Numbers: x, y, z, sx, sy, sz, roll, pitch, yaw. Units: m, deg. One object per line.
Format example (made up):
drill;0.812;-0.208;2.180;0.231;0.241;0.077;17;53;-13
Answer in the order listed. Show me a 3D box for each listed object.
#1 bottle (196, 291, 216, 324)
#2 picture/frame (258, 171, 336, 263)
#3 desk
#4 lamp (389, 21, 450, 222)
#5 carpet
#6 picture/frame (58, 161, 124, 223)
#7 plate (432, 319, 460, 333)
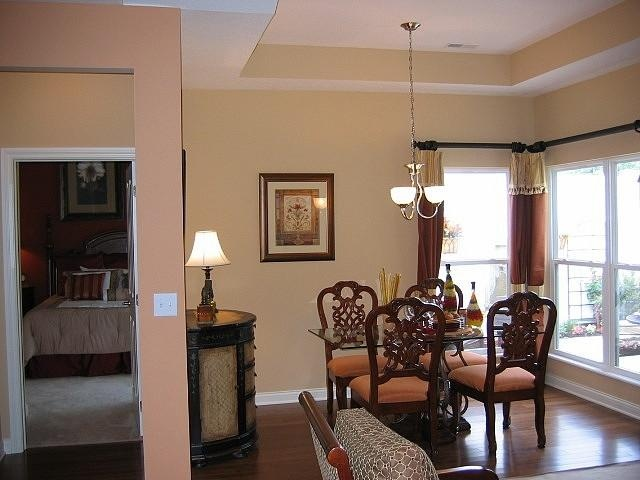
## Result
bottle;-0.985;0.607;4.778;0.185;0.341;0.343;-1;-1;-2
picture/frame;-0.298;-0.271;5.895;0.889;1.156;0.077;0;1;-9
desk;-0.990;1.306;4.858;0.878;1.189;0.754;-3;1;-28
lamp;1.010;-1.148;5.479;0.534;1.852;1.433;0;1;10
carpet;-2.509;1.779;5.652;1.068;0.157;2.031;-1;1;-30
picture/frame;-3.348;-0.735;7.716;0.774;0.993;0.060;0;3;-10
plate;1.101;0.756;4.693;0.160;0.075;0.167;0;-2;-20
